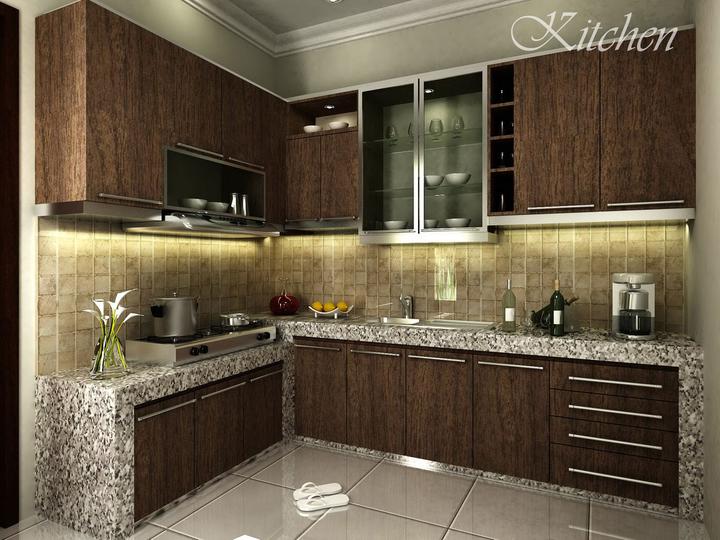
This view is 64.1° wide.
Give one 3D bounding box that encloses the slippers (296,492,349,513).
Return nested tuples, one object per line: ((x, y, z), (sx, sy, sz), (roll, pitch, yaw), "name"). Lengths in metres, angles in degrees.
((-0.242, 1.527, 3.769), (0.240, 0.038, 0.128), (0, 1, -23), "slippers")

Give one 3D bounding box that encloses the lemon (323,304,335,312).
((-0.271, 0.342, 5.035), (0.068, 0.089, 0.070), (14, -42, -39), "lemon")

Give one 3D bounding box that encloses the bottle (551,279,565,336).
((1.359, 0.304, 3.950), (0.078, 0.292, 0.104), (-9, 17, -34), "bottle")

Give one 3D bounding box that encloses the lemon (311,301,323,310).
((-0.374, 0.307, 5.044), (0.073, 0.082, 0.073), (3, -23, -7), "lemon")

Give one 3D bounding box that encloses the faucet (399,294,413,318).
((0.398, 0.318, 4.889), (0.089, 0.187, 0.146), (-5, 15, -19), "faucet")

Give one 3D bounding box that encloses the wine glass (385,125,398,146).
((0.262, -1.104, 4.713), (0.119, 0.156, 0.050), (12, 18, 38), "wine glass")

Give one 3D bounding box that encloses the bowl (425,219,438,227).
((0.559, -0.355, 4.512), (0.064, 0.052, 0.069), (-1, 1, 0), "bowl")

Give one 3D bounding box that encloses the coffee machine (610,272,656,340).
((1.834, 0.248, 3.864), (0.286, 0.427, 0.215), (8, 16, 28), "coffee machine")

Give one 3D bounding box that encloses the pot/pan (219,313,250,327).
((-0.992, 0.394, 4.508), (0.168, 0.069, 0.114), (0, 1, 26), "pot/pan")

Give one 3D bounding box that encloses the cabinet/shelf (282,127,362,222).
((-0.301, -0.796, 4.869), (0.714, 0.911, 0.439), (-1, -2, 25), "cabinet/shelf")

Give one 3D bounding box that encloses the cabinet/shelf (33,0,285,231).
((-1.382, -1.134, 3.969), (1.651, 1.247, 0.543), (-11, 18, -37), "cabinet/shelf")

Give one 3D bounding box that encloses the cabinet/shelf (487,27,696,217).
((1.654, -0.999, 4.009), (1.308, 1.242, 0.532), (0, 0, 25), "cabinet/shelf")

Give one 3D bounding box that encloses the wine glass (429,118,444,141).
((0.591, -1.085, 4.499), (0.124, 0.169, 0.130), (0, -1, -22), "wine glass")

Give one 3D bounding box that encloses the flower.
((-1.655, 0.440, 3.950), (0.433, 0.585, 0.399), (-2, -3, 36), "flower")

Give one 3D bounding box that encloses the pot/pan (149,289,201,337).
((-1.336, 0.266, 4.136), (0.233, 0.278, 0.385), (-1, -1, 18), "pot/pan")

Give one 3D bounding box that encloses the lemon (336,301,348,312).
((-0.158, 0.317, 5.037), (0.082, 0.073, 0.067), (2, -8, -25), "lemon")

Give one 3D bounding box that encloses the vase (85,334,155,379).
((-1.637, 0.569, 3.819), (0.265, 0.275, 0.248), (4, -7, -41), "vase")
